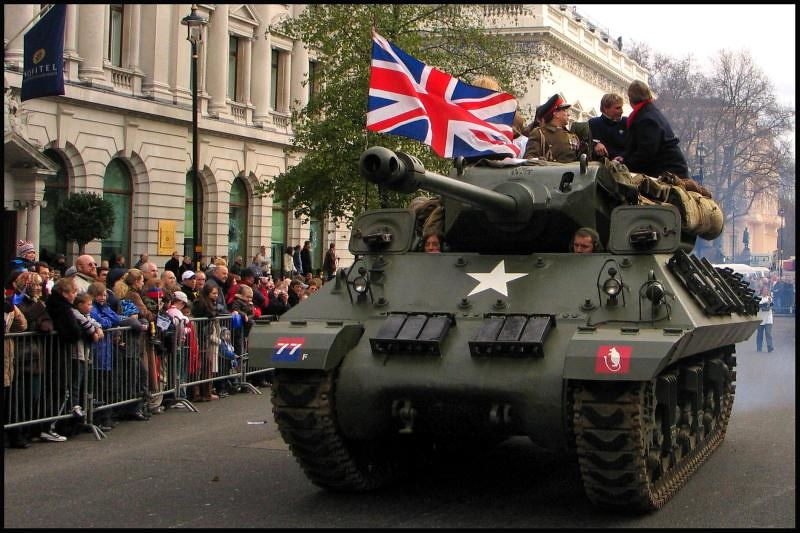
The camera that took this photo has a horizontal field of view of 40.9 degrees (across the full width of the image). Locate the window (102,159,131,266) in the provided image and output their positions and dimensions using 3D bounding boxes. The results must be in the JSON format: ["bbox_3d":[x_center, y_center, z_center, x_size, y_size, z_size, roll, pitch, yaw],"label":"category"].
[{"bbox_3d":[-8.940,-1.640,34.235,0.974,4.412,0.157,3,40,-11],"label":"window"}]

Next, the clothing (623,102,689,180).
[{"bbox_3d":[4.293,-2.029,18.346,1.006,1.398,1.174,-10,-1,6],"label":"clothing"}]

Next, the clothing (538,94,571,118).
[{"bbox_3d":[2.488,-2.556,17.637,0.466,0.205,0.353,-25,1,26],"label":"clothing"}]

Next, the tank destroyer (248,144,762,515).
[{"bbox_3d":[1.615,0.830,15.195,6.977,4.915,3.470,0,6,-9],"label":"tank destroyer"}]
